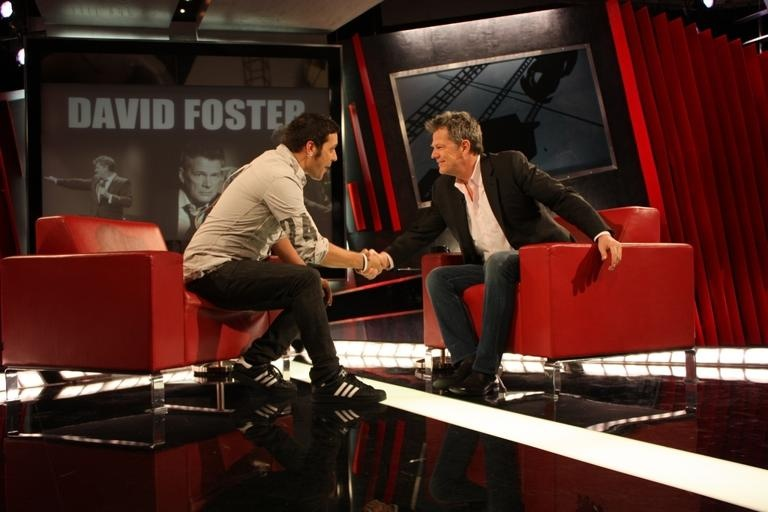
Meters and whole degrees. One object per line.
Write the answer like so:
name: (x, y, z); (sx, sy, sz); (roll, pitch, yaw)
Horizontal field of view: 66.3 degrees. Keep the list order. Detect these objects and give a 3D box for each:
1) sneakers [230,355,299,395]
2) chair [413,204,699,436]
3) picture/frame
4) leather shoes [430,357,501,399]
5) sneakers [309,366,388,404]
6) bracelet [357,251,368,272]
sneakers: (-0.660, 0.661, 3.291); (0.420, 0.188, 0.151); (19, 2, -15)
chair: (1.010, 0.283, 3.427); (1.079, 1.173, 1.341); (3, -5, -35)
picture/frame: (1.065, -1.090, 4.702); (1.572, 1.044, 0.061); (-7, -4, 5)
leather shoes: (0.468, 0.678, 3.223); (0.278, 0.117, 0.186); (9, -11, -37)
sneakers: (-0.189, 0.690, 3.187); (0.485, 0.215, 0.160); (0, -1, -6)
bracelet: (-0.130, 0.033, 3.631); (0.036, 0.095, 0.071); (3, 10, -19)
